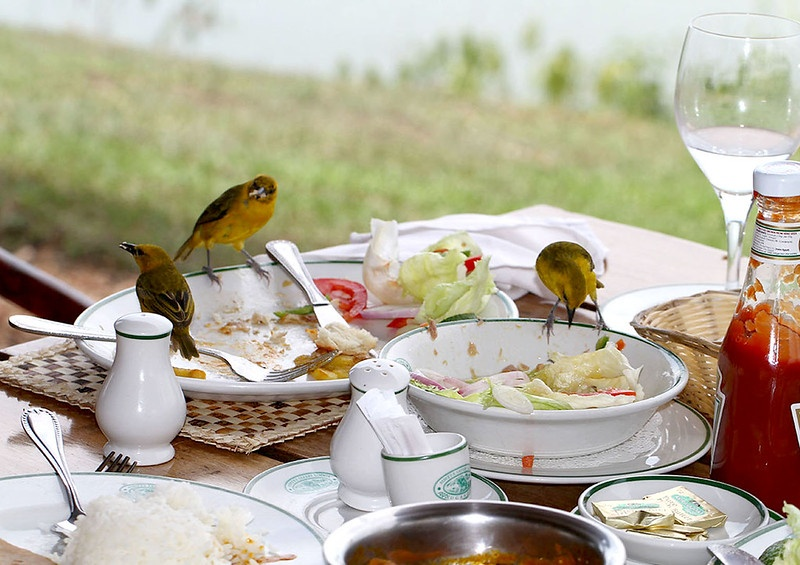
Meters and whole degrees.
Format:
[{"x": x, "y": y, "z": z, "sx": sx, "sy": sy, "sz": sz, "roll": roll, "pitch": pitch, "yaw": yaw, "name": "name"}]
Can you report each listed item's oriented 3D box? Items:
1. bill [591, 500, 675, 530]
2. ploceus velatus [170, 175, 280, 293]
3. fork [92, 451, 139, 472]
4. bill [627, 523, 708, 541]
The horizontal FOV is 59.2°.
[{"x": 0.223, "y": 0.224, "z": 0.675, "sx": 0.049, "sy": 0.011, "sz": 0.043, "roll": -1, "pitch": 11, "yaw": -12, "name": "bill"}, {"x": -0.396, "y": -0.120, "z": 1.507, "sx": 0.356, "sy": 0.240, "sz": 0.148, "roll": 1, "pitch": 5, "yaw": 36, "name": "ploceus velatus"}, {"x": -0.342, "y": 0.208, "z": 0.825, "sx": 0.022, "sy": 0.006, "sz": 0.038, "roll": 13, "pitch": 22, "yaw": 18, "name": "fork"}, {"x": 0.260, "y": 0.238, "z": 0.669, "sx": 0.042, "sy": 0.005, "sz": 0.027, "roll": 0, "pitch": 0, "yaw": 17, "name": "bill"}]
